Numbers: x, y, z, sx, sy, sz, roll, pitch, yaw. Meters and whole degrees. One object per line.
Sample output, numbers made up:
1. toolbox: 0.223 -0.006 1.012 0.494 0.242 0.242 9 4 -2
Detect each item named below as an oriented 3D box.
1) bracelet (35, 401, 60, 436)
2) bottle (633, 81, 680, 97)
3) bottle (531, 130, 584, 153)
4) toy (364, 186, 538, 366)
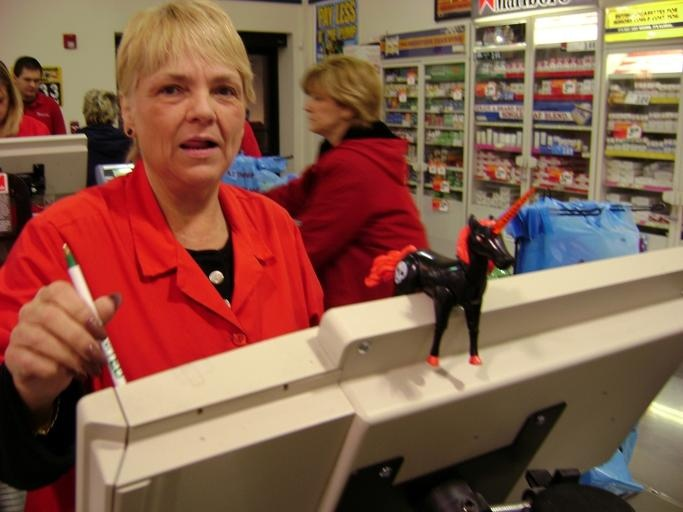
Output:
1. bracelet: -0.465 0.263 0.789 0.025 0.036 0.013 21 -10 -11
2. bottle: 3.174 -1.682 5.009 0.214 0.063 0.241 -4 11 -36
3. bottle: 2.561 -1.339 5.860 0.644 0.263 0.224 12 22 42
4. toy: 0.148 0.021 0.738 0.087 0.245 0.261 2 7 -33
